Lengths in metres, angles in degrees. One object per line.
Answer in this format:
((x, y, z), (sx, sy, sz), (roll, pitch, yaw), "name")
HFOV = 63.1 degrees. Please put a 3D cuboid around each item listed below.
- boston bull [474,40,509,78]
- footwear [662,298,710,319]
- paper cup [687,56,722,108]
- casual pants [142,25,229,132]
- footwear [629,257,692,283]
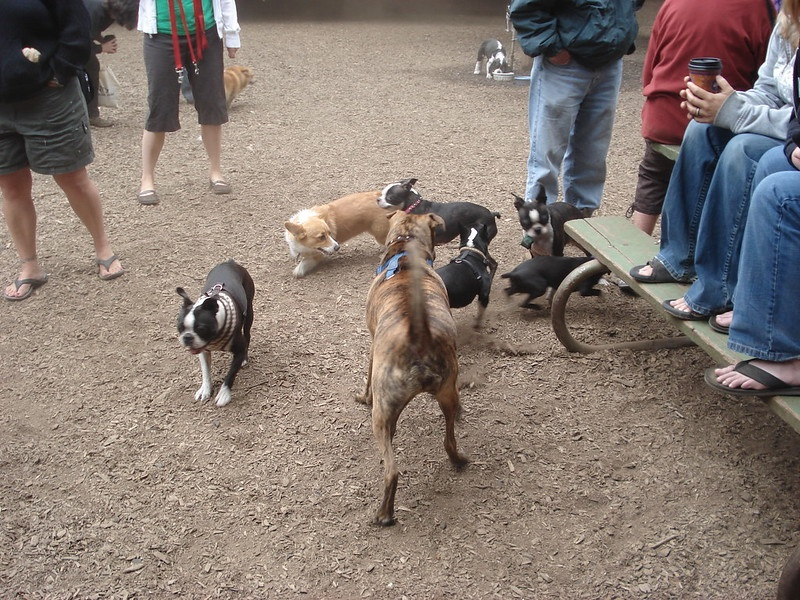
((1.482, -3.882, 10.428), (0.347, 0.466, 0.930), (-6, 27, -16), "boston bull")
((1.523, 0.052, 3.504), (0.241, 0.057, 0.087), (4, 21, -2), "footwear")
((1.607, -1.180, 3.437), (0.167, 0.176, 0.215), (11, 30, 21), "paper cup")
((-1.928, -2.090, 6.009), (0.777, 0.446, 1.438), (-6, 68, -4), "casual pants")
((1.499, -0.171, 3.811), (0.350, 0.091, 0.129), (4, 23, 8), "footwear")
